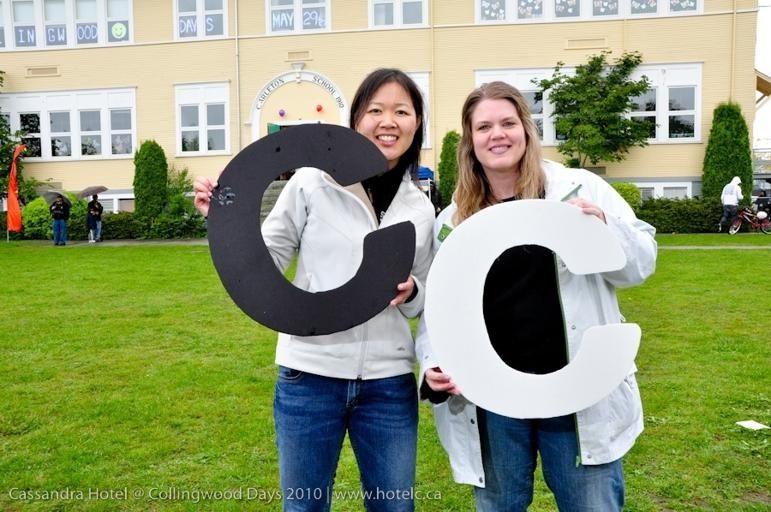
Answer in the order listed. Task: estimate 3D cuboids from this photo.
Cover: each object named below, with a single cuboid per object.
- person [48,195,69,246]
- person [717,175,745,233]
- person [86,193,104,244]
[{"bbox_3d":[-9.898,-1.056,19.799,0.491,1.473,1.454,-3,6,-26],"label":"person"},{"bbox_3d":[10.063,-1.420,18.951,0.548,1.577,0.938,2,6,27],"label":"person"},{"bbox_3d":[-9.147,-1.136,20.457,0.413,1.450,0.847,-3,6,-25],"label":"person"}]
